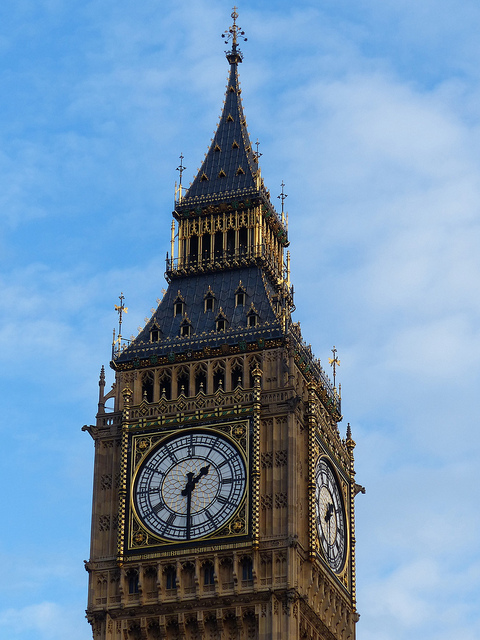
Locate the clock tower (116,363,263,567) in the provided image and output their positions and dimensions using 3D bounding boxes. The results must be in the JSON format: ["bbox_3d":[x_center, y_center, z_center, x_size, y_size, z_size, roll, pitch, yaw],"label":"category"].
[{"bbox_3d":[-1.778,5.521,91.179,5.431,7.948,0.526,-7,-41,8],"label":"clock tower"}]
